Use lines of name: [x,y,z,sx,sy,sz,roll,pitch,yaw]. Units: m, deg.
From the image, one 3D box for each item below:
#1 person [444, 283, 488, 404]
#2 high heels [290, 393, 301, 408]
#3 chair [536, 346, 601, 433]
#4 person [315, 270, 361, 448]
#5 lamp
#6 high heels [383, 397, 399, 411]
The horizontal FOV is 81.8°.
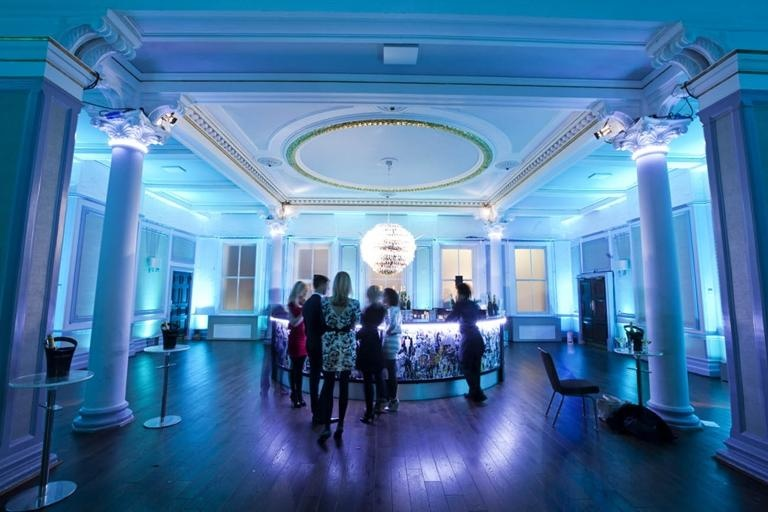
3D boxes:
person: [1.458,1.396,7.475,0.519,1.888,0.768,-6,13,-27]
high heels: [-1.407,2.269,7.022,0.238,0.178,0.128,5,-6,-44]
chair: [2.707,1.897,6.562,0.775,1.033,0.614,-3,-4,3]
person: [-0.640,1.355,6.086,0.542,2.231,0.786,1,12,3]
lamp: [0.093,-0.967,9.422,0.904,2.038,0.896,-4,10,-10]
high heels: [0.110,2.303,6.934,0.291,0.209,0.116,1,-7,11]
